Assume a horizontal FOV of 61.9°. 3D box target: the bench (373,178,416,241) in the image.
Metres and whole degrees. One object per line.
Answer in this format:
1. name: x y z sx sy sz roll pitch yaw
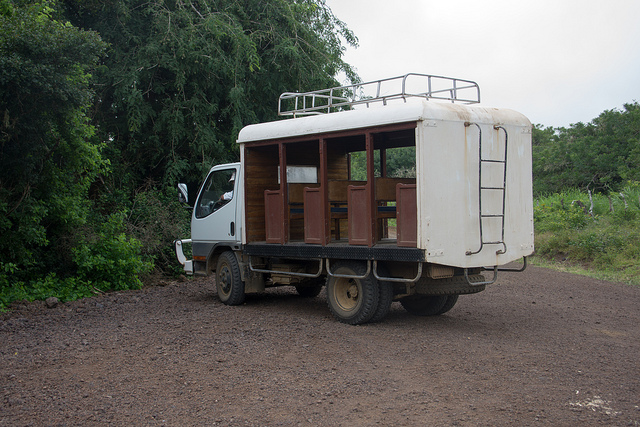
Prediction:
1. bench: 1.446 -0.103 10.637 0.465 1.271 1.267 7 3 14

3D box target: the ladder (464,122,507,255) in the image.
1. ladder: 3.099 -0.442 9.596 0.886 2.379 0.344 -6 10 -29

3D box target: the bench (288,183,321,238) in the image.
1. bench: -0.365 -0.092 12.089 0.823 1.264 0.664 -1 0 -16

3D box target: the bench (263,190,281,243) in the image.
1. bench: -0.962 0.042 11.125 0.440 1.145 0.063 -1 -12 -5

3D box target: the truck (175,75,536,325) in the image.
1. truck: 0.176 -0.144 12.182 7.517 4.664 3.443 -1 -2 41
